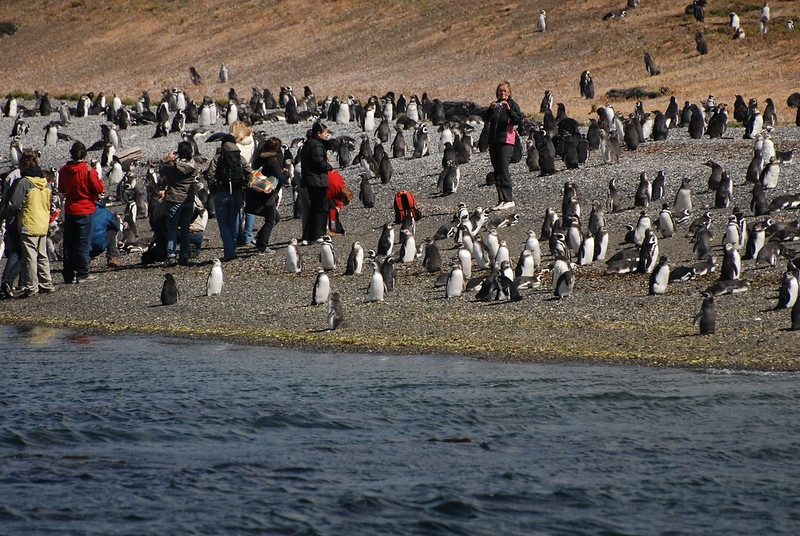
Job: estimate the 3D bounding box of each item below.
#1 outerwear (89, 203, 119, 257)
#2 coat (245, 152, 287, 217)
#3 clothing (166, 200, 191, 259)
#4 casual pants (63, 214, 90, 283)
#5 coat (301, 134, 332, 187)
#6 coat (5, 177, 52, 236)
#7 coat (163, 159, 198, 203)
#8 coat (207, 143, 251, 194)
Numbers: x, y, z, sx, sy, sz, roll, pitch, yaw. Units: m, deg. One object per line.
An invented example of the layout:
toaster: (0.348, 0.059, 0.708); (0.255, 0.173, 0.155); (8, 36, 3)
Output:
outerwear: (-8.150, -1.070, 48.685); (0.852, 1.506, 1.633); (-3, 0, -9)
coat: (-3.714, -2.324, 48.729); (1.110, 1.742, 1.700); (-3, 0, -5)
clothing: (-6.008, -0.952, 48.291); (0.765, 1.667, 1.261); (-3, 0, -7)
casual pants: (-8.643, -0.482, 47.289); (0.797, 1.858, 1.011); (-3, 0, -12)
coat: (-2.236, -2.903, 48.347); (0.827, 1.402, 0.566); (-3, 0, -3)
coat: (-9.741, -1.632, 46.118); (1.615, 1.511, 1.077); (-7, 12, -29)
coat: (-5.913, -2.335, 47.616); (0.918, 1.205, 0.489); (-3, 0, -6)
coat: (-4.535, -2.672, 47.689); (1.604, 1.394, 0.852); (-1, 20, -1)
